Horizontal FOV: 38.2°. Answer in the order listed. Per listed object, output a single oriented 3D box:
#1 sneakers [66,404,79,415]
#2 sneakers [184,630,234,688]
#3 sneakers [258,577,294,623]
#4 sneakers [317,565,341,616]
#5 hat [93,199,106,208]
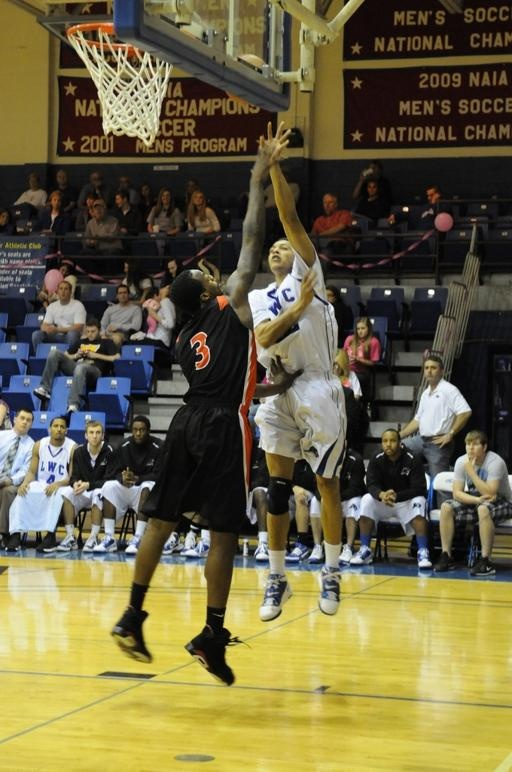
[{"bbox_3d":[-2.403,0.292,9.612,0.150,0.093,0.087,-5,-2,26],"label":"sneakers"},{"bbox_3d":[-0.159,0.917,2.496,0.161,0.242,0.151,3,3,-5],"label":"sneakers"},{"bbox_3d":[0.070,0.934,3.303,0.089,0.124,0.283,-3,18,17],"label":"sneakers"},{"bbox_3d":[0.344,0.917,3.382,0.081,0.254,0.101,2,-38,-4],"label":"sneakers"},{"bbox_3d":[-2.895,-3.387,13.595,0.162,0.204,0.174,5,-9,-2],"label":"hat"}]
